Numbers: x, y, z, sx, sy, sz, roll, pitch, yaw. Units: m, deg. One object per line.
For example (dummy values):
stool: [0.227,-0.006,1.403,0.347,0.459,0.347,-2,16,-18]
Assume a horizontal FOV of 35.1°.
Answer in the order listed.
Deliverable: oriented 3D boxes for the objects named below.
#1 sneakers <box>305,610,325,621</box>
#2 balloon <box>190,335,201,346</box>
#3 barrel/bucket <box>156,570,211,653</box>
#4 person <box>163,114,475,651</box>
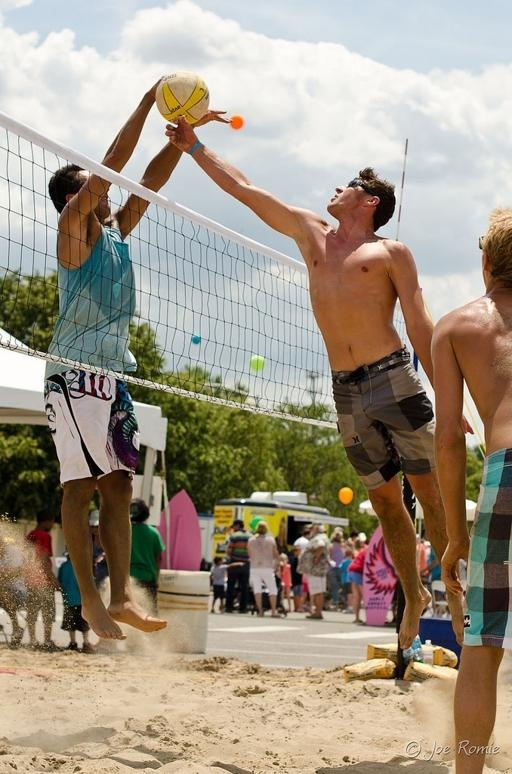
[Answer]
sneakers: [0.966,3.835,13.527,0.397,0.146,0.131,4,-6,21]
balloon: [-0.409,-0.327,5.499,0.050,0.049,0.057,29,-9,26]
barrel/bucket: [-0.712,2.146,7.657,0.531,0.755,0.472,8,-25,-18]
person: [0.262,0.074,3.119,0.949,2.010,0.940,2,-3,13]
